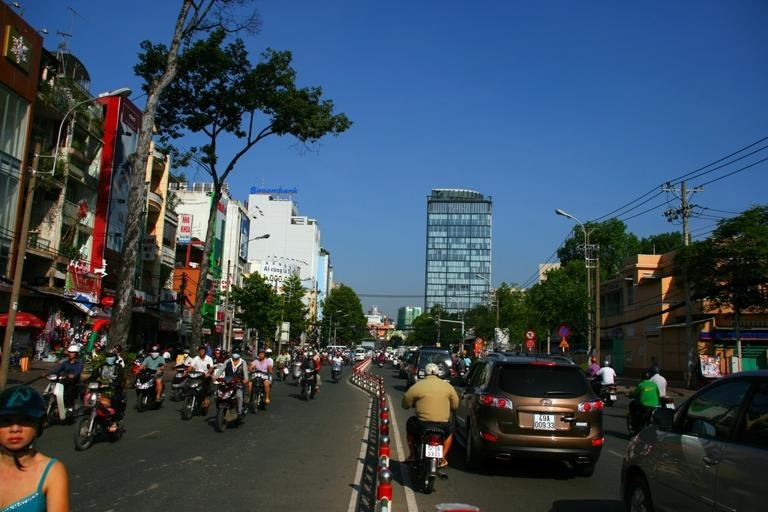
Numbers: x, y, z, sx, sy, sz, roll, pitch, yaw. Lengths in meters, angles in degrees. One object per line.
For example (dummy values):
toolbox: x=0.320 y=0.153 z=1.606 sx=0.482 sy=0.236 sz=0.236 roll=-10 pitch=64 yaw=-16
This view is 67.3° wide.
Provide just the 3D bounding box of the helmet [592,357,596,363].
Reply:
helmet: x=10.332 y=5.074 z=28.207 sx=0.242 sy=0.278 sz=0.245 roll=1 pitch=-1 yaw=1

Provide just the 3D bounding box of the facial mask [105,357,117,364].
facial mask: x=-7.013 y=2.685 z=14.859 sx=0.216 sy=0.149 sz=0.229 roll=3 pitch=-13 yaw=-17

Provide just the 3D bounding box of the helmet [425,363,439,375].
helmet: x=0.889 y=2.038 z=10.474 sx=0.221 sy=0.210 sz=0.224 roll=0 pitch=-8 yaw=-1

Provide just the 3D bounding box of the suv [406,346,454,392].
suv: x=2.250 y=5.640 z=27.187 sx=2.197 sy=2.116 sz=4.070 roll=2 pitch=-2 yaw=0

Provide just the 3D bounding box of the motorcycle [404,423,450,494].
motorcycle: x=0.789 y=3.415 z=9.757 sx=0.476 sy=1.167 sz=0.657 roll=4 pitch=-14 yaw=-7

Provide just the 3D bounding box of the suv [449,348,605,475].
suv: x=2.766 y=3.058 z=11.819 sx=1.764 sy=1.393 sz=3.107 roll=2 pitch=-6 yaw=3
